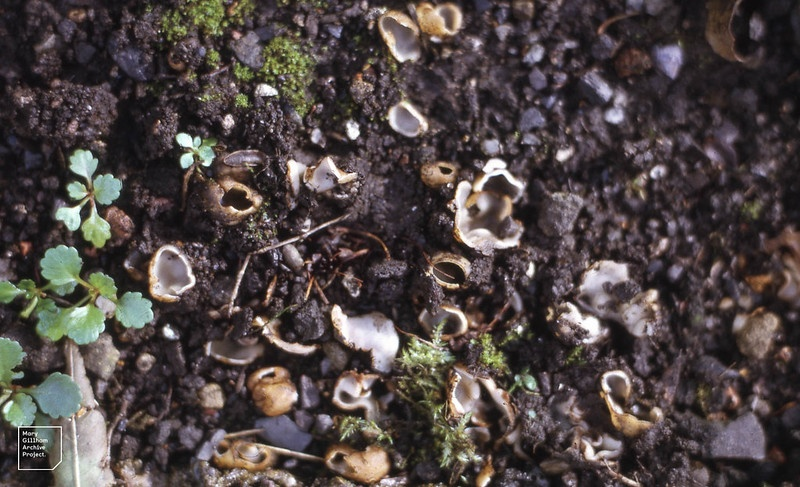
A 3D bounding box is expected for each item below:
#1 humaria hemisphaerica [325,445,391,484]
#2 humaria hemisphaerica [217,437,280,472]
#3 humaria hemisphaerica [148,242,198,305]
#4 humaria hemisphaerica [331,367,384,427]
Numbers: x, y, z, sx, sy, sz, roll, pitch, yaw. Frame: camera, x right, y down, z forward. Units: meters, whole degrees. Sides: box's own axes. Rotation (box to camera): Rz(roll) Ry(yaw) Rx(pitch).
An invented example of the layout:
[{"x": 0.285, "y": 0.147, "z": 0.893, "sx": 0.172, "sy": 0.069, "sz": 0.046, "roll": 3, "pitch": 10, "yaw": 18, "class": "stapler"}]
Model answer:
[{"x": -0.385, "y": 1.936, "z": 7.284, "sx": 0.564, "sy": 0.165, "sz": 0.324, "roll": 1, "pitch": 76, "yaw": -5, "class": "humaria hemisphaerica"}, {"x": -1.389, "y": 1.882, "z": 7.358, "sx": 0.398, "sy": 0.161, "sz": 0.294, "roll": 8, "pitch": 69, "yaw": -5, "class": "humaria hemisphaerica"}, {"x": -1.999, "y": 0.268, "z": 7.297, "sx": 0.377, "sy": 0.180, "sz": 0.469, "roll": -1, "pitch": 76, "yaw": -5, "class": "humaria hemisphaerica"}, {"x": -0.386, "y": 1.353, "z": 7.317, "sx": 0.428, "sy": 0.134, "sz": 0.441, "roll": 10, "pitch": 95, "yaw": 4, "class": "humaria hemisphaerica"}]
